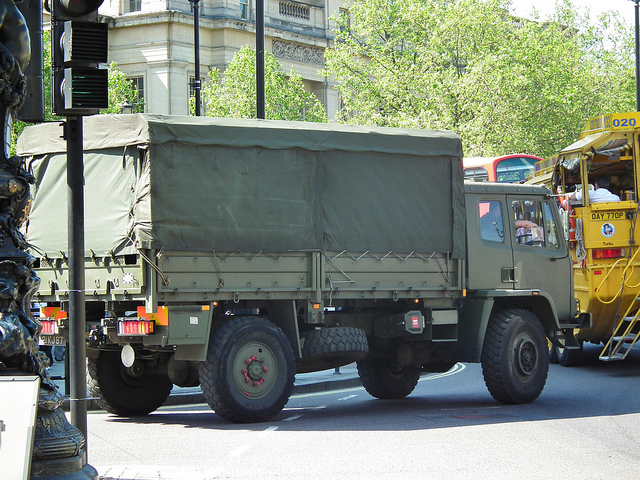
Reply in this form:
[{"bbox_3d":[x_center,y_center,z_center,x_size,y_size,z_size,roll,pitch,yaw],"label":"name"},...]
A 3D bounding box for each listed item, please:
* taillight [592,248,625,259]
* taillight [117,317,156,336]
[{"bbox_3d":[5.643,0.231,17.276,0.750,0.155,0.119,1,0,-28],"label":"taillight"},{"bbox_3d":[-2.471,1.134,11.960,0.650,0.238,0.133,0,0,30],"label":"taillight"}]
